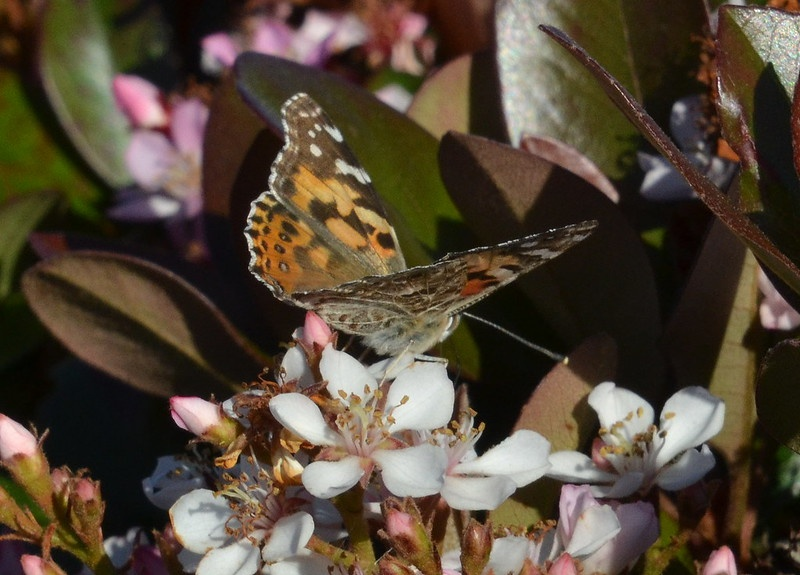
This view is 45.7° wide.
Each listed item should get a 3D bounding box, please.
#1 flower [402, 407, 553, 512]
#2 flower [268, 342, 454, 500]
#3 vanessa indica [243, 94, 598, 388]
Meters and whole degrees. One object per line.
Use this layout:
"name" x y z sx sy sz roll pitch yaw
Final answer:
"flower" 0.088 0.194 1.018 0.096 0.050 0.131 -28 1 -29
"flower" -0.032 0.134 0.998 0.178 0.144 0.149 -23 24 3
"vanessa indica" 0.037 -0.038 1.274 0.465 0.330 0.371 11 52 36
